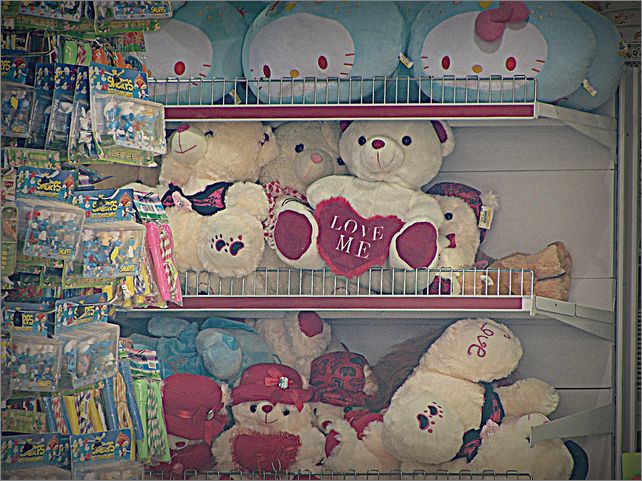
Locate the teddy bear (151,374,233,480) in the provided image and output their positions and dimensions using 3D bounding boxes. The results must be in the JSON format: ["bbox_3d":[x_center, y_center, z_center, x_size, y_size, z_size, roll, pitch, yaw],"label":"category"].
[{"bbox_3d":[-0.697,0.957,5.717,0.463,0.521,0.444,8,2,-41],"label":"teddy bear"}]

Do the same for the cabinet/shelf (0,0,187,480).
[{"bbox_3d":[-0.949,-0.008,4.595,0.727,2.036,0.310,1,-4,-19],"label":"cabinet/shelf"}]

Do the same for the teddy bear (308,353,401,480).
[{"bbox_3d":[0.146,0.927,5.618,0.388,0.619,0.272,-8,2,17],"label":"teddy bear"}]

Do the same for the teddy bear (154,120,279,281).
[{"bbox_3d":[-0.567,-0.202,5.535,0.693,0.865,0.437,1,-1,21],"label":"teddy bear"}]

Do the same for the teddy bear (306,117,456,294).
[{"bbox_3d":[0.288,-0.211,5.881,0.885,1.371,0.765,3,5,7],"label":"teddy bear"}]

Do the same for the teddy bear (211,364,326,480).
[{"bbox_3d":[-0.270,0.979,5.775,0.652,0.747,0.473,0,-12,-2],"label":"teddy bear"}]

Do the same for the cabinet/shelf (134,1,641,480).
[{"bbox_3d":[0.304,-0.001,5.559,2.057,2.383,0.737,2,-3,8],"label":"cabinet/shelf"}]

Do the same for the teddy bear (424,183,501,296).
[{"bbox_3d":[0.730,0.002,5.647,0.324,0.532,0.231,18,-20,4],"label":"teddy bear"}]

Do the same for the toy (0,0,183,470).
[{"bbox_3d":[-1.037,0.088,4.878,1.056,1.685,0.356,-3,0,-34],"label":"toy"}]

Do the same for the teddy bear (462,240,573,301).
[{"bbox_3d":[1.054,0.179,5.651,0.457,0.244,0.305,-3,-4,7],"label":"teddy bear"}]
